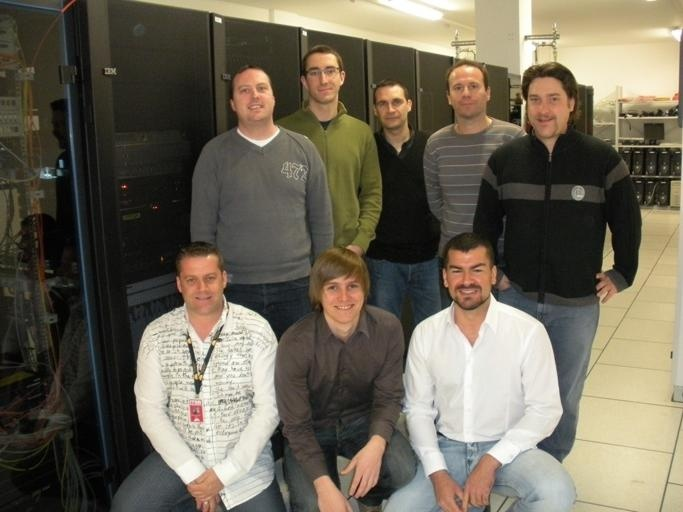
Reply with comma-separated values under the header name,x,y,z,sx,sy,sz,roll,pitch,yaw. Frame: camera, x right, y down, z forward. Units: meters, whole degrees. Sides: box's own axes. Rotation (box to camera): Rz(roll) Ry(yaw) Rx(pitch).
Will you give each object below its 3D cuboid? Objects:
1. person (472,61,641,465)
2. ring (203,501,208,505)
name,x,y,z,sx,sy,sz,roll,pitch,yaw
person,1.005,0.126,2.789,0.789,2.046,0.583,5,15,34
ring,-0.559,1.006,2.274,0.018,0.005,0.019,1,9,0
